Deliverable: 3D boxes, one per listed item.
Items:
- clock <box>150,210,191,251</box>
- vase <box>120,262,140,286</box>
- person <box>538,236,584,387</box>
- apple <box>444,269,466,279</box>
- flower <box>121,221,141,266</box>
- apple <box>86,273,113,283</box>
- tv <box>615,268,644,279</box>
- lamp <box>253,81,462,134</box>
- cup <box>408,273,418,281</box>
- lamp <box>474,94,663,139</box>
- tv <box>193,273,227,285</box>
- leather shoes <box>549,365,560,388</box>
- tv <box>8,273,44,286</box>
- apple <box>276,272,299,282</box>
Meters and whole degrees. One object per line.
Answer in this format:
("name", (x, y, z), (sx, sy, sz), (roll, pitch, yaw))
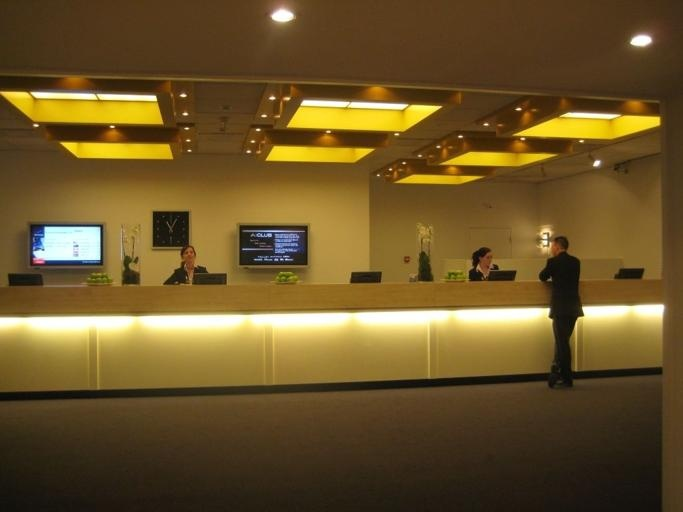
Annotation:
("clock", (-3.146, -0.483, 10.689), (0.750, 0.773, 0.079), (0, 2, -5))
("vase", (-2.514, 0.236, 7.162), (0.318, 0.320, 0.183), (2, -3, -12))
("person", (2.954, 0.589, 7.705), (0.541, 1.845, 0.497), (-5, 23, 19))
("apple", (1.507, 0.242, 7.770), (0.266, 0.112, 0.179), (0, 9, -2))
("flower", (-2.554, -0.155, 7.129), (0.213, 0.486, 0.480), (-3, 10, -20))
("apple", (-2.944, 0.254, 7.111), (0.255, 0.110, 0.407), (-6, 12, -37))
("tv", (3.994, 0.263, 8.147), (0.334, 0.145, 0.519), (5, 10, 23))
("lamp", (0.090, -1.926, 7.717), (2.331, 0.506, 1.991), (-1, 9, -8))
("cup", (1.001, 0.274, 8.152), (0.135, 0.081, 0.222), (1, -6, -4))
("lamp", (2.954, -1.859, 7.714), (1.068, 0.246, 1.081), (2, -3, -2))
("tv", (-1.619, 0.267, 7.261), (0.371, 0.118, 0.170), (-3, 10, -20))
("leather shoes", (2.726, 1.523, 7.441), (0.104, 0.320, 0.225), (2, -8, 4))
("tv", (-3.825, 0.274, 7.077), (0.454, 0.136, 0.107), (4, 10, 17))
("apple", (-0.724, 0.267, 7.355), (0.222, 0.097, 0.228), (-1, -2, 31))
